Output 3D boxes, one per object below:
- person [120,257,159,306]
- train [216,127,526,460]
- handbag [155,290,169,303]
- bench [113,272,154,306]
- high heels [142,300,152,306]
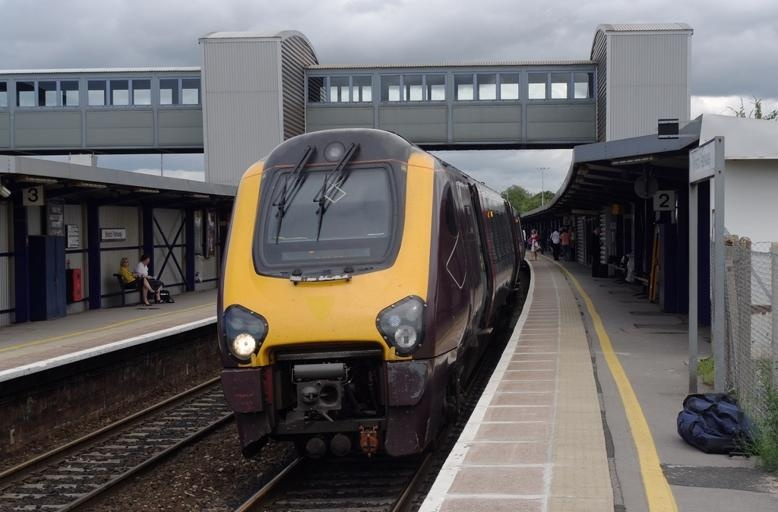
[{"bbox_3d":[-7.181,0.710,21.162,0.921,1.489,1.254,-2,8,-11],"label":"person"},{"bbox_3d":[-0.403,0.636,10.572,4.032,4.916,2.451,-3,8,-16],"label":"train"},{"bbox_3d":[-6.765,1.199,21.929,0.349,0.330,0.325,11,-13,-43],"label":"handbag"},{"bbox_3d":[-7.398,0.914,21.111,0.899,0.985,0.592,-3,3,-26],"label":"bench"},{"bbox_3d":[-6.921,1.349,21.057,0.115,0.175,0.391,0,-13,-12],"label":"high heels"}]
